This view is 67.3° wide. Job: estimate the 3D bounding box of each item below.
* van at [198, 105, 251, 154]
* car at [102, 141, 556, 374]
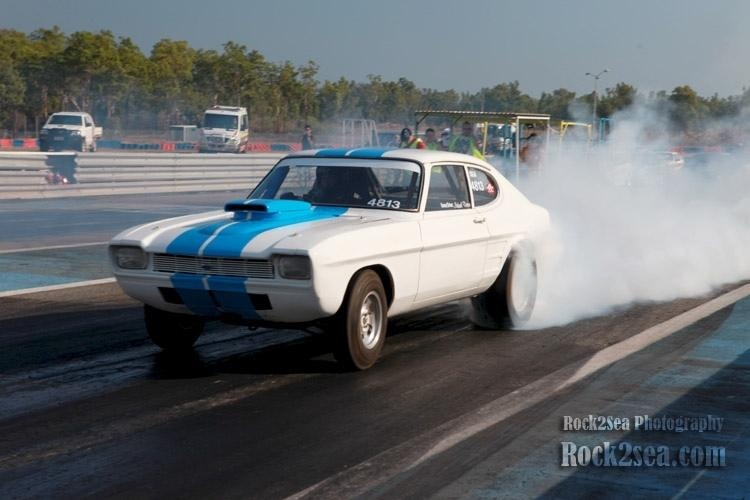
[{"bbox_3d":[-11.586,-9.113,43.884,2.982,2.582,4.955,1,3,7],"label":"van"},{"bbox_3d":[-0.267,-0.024,5.638,3.908,2.028,1.753,-6,11,-41],"label":"car"}]
